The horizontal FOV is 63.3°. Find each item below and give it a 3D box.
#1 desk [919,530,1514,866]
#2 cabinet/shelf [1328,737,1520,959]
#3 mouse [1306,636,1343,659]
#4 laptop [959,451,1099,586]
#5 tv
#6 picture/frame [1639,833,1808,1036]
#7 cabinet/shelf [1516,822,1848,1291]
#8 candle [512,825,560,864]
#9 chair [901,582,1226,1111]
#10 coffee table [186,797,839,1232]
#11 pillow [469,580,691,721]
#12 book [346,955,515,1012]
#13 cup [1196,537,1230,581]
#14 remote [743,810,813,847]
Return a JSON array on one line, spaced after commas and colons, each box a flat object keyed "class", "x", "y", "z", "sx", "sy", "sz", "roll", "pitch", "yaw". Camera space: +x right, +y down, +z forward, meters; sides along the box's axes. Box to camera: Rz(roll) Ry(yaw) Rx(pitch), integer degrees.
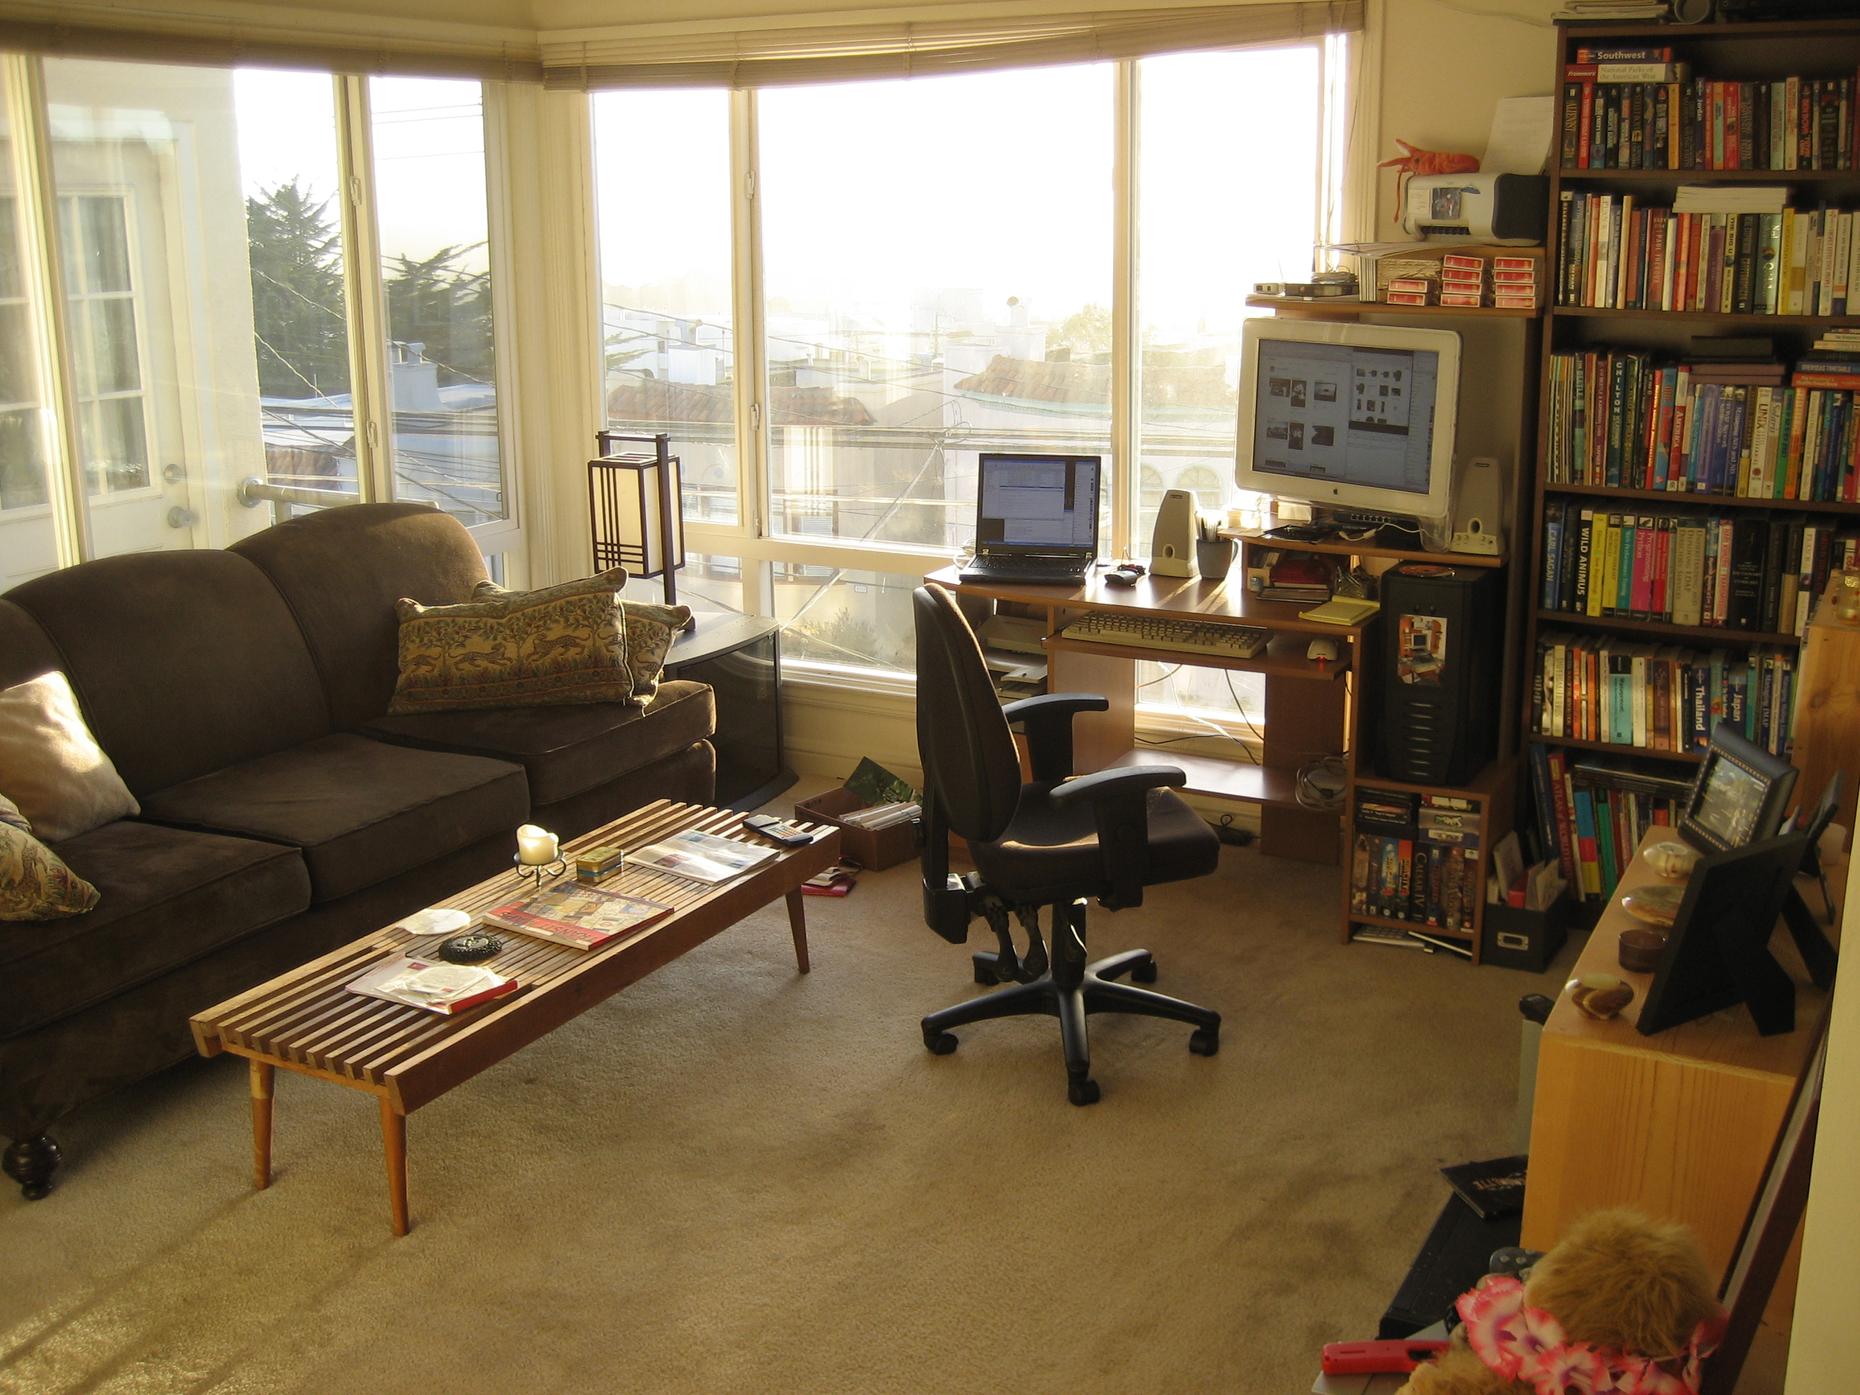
[{"class": "desk", "x": 0.956, "y": -0.119, "z": 4.488, "sx": 2.383, "sy": 0.968, "sz": 0.895, "roll": 5, "pitch": 14, "yaw": 31}, {"class": "cabinet/shelf", "x": 1.357, "y": 0.563, "z": 4.498, "sx": 0.554, "sy": 0.481, "sz": 0.554, "roll": 5, "pitch": 57, "yaw": 7}, {"class": "mouse", "x": 1.138, "y": -0.146, "z": 4.356, "sx": 0.067, "sy": 0.026, "sz": 0.086, "roll": 4, "pitch": 17, "yaw": 23}, {"class": "laptop", "x": 0.397, "y": -0.569, "z": 4.752, "sx": 0.463, "sy": 0.356, "sz": 0.329, "roll": -1, "pitch": 15, "yaw": -21}, {"class": "tv", "x": 1.309, "y": -0.839, "z": 4.461, "sx": 0.283, "sy": 0.555, "sz": 0.786, "roll": -16, "pitch": 23, "yaw": -30}, {"class": "picture/frame", "x": 1.328, "y": 0.406, "z": 2.509, "sx": 0.302, "sy": 0.246, "sz": 0.168, "roll": -17, "pitch": 23, "yaw": -34}, {"class": "cabinet/shelf", "x": 1.181, "y": 0.564, "z": 2.350, "sx": 0.277, "sy": 0.559, "sz": 0.723, "roll": 9, "pitch": 20, "yaw": 23}, {"class": "candle", "x": -1.045, "y": 0.380, "z": 3.923, "sx": 0.122, "sy": 0.091, "sz": 0.114, "roll": 2, "pitch": 11, "yaw": 12}, {"class": "chair", "x": 0.349, "y": 0.422, "z": 4.007, "sx": 1.075, "sy": 1.410, "sz": 1.024, "roll": -2, "pitch": 20, "yaw": 2}, {"class": "coffee table", "x": -0.981, "y": 0.728, "z": 3.679, "sx": 0.661, "sy": 0.579, "sz": 1.299, "roll": 8, "pitch": 17, "yaw": 32}, {"class": "pillow", "x": -1.275, "y": -0.242, "z": 4.990, "sx": 0.873, "sy": 0.245, "sz": 0.911, "roll": -3, "pitch": 15, "yaw": -3}, {"class": "book", "x": -1.091, "y": 0.633, "z": 3.343, "sx": 0.358, "sy": 0.040, "sz": 0.194, "roll": 6, "pitch": 15, "yaw": 28}, {"class": "cup", "x": 0.883, "y": -0.430, "z": 4.706, "sx": 0.150, "sy": 0.121, "sz": 0.106, "roll": 0, "pitch": 10, "yaw": -3}, {"class": "remote", "x": -0.421, "y": 0.369, "z": 4.109, "sx": 0.180, "sy": 0.046, "sz": 0.094, "roll": 12, "pitch": 24, "yaw": 35}]
